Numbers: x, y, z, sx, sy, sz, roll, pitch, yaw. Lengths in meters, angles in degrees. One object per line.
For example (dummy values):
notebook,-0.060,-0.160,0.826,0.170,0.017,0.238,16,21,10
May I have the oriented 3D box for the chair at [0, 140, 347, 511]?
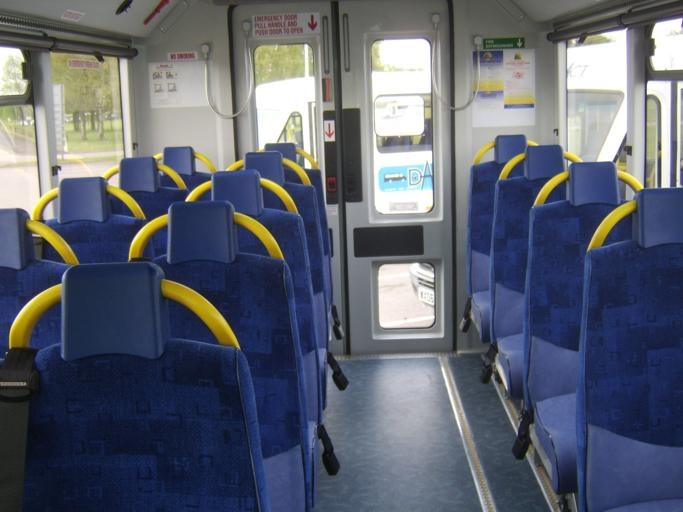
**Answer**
chair,-0.473,0.301,2.499,0.842,1.302,1.063,1,7,5
